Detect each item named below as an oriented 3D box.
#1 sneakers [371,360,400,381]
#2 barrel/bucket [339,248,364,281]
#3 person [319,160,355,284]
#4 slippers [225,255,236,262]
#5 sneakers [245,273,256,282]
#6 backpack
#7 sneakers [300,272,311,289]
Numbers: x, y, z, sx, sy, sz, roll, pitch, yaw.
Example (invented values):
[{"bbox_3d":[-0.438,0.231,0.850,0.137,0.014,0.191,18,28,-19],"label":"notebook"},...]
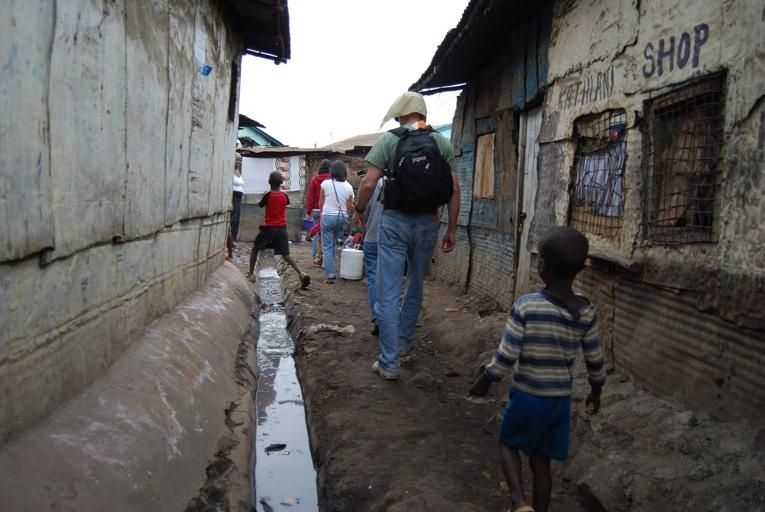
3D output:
[{"bbox_3d":[0.020,1.129,4.821,0.124,0.136,0.282,-5,22,-39],"label":"sneakers"},{"bbox_3d":[-0.634,0.159,9.008,0.546,0.617,0.564,2,0,0],"label":"barrel/bucket"},{"bbox_3d":[-0.840,-0.603,8.643,0.564,2.091,0.568,0,13,-10],"label":"person"},{"bbox_3d":[-2.934,0.056,9.339,0.164,0.200,0.489,0,-5,-14],"label":"slippers"},{"bbox_3d":[-2.255,0.368,8.246,0.153,0.074,0.216,3,-1,-9],"label":"sneakers"},{"bbox_3d":[0.331,-0.780,4.541,0.638,0.784,0.412,4,13,7],"label":"backpack"},{"bbox_3d":[-1.271,0.418,8.031,0.118,0.331,0.145,-3,34,-21],"label":"sneakers"}]
